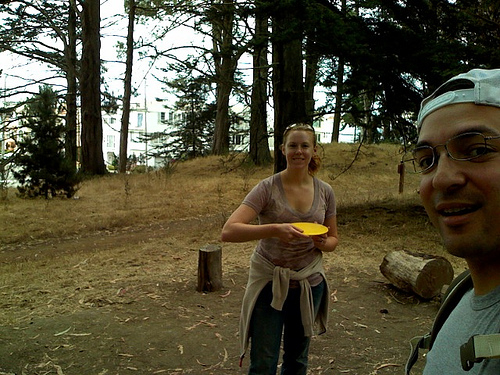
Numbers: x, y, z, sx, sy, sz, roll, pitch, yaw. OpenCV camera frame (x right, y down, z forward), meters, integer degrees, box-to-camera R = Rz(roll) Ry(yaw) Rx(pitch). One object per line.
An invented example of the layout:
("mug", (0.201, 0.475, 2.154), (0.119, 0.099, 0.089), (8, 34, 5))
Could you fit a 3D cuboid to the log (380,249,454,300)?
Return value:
("log", (2.995, 1.620, 10.318), (1.253, 0.748, 0.499), (6, 13, 36))
